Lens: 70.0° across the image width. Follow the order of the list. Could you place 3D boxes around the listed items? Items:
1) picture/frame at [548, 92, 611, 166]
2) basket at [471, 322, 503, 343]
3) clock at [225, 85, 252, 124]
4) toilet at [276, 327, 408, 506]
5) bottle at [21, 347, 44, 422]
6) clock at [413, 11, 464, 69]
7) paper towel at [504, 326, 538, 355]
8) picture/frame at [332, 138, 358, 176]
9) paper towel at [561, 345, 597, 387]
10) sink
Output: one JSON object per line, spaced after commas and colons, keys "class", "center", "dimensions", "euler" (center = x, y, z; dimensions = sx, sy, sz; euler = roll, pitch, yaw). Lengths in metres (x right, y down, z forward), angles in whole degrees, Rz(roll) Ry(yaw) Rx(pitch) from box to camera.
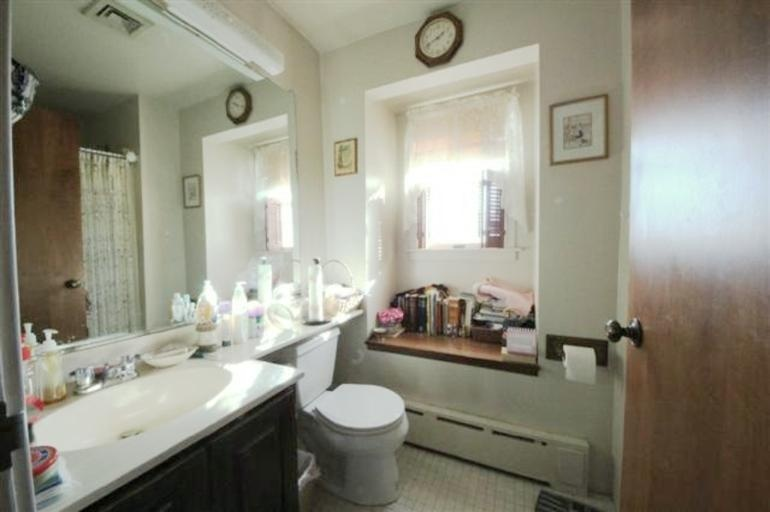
{"class": "picture/frame", "center": [1.018, -0.659, 2.852], "dimensions": [0.397, 0.451, 0.031], "euler": [-1, 4, 32]}
{"class": "basket", "center": [0.614, 0.470, 3.359], "dimensions": [0.154, 0.069, 0.105], "euler": [-2, -5, 23]}
{"class": "clock", "center": [-0.763, -0.783, 2.841], "dimensions": [0.028, 0.187, 0.176], "euler": [7, -20, 20]}
{"class": "toilet", "center": [-0.174, 0.871, 3.213], "dimensions": [0.901, 0.921, 0.571], "euler": [-1, 5, 28]}
{"class": "bottle", "center": [-1.345, 0.478, 2.111], "dimensions": [0.058, 0.211, 0.249], "euler": [-3, 2, -33]}
{"class": "clock", "center": [0.295, -1.242, 3.143], "dimensions": [0.289, 0.294, 0.025], "euler": [-19, 48, -12]}
{"class": "paper towel", "center": [0.749, 0.462, 3.115], "dimensions": [0.215, 0.203, 0.117], "euler": [-2, -11, 26]}
{"class": "picture/frame", "center": [-0.242, -0.619, 3.431], "dimensions": [0.245, 0.312, 0.024], "euler": [2, 2, 29]}
{"class": "paper towel", "center": [0.973, 0.553, 2.782], "dimensions": [0.176, 0.159, 0.181], "euler": [1, 1, 17]}
{"class": "sink", "center": [-1.005, 0.491, 2.202], "dimensions": [0.296, 0.126, 0.488], "euler": [15, 21, 29]}
